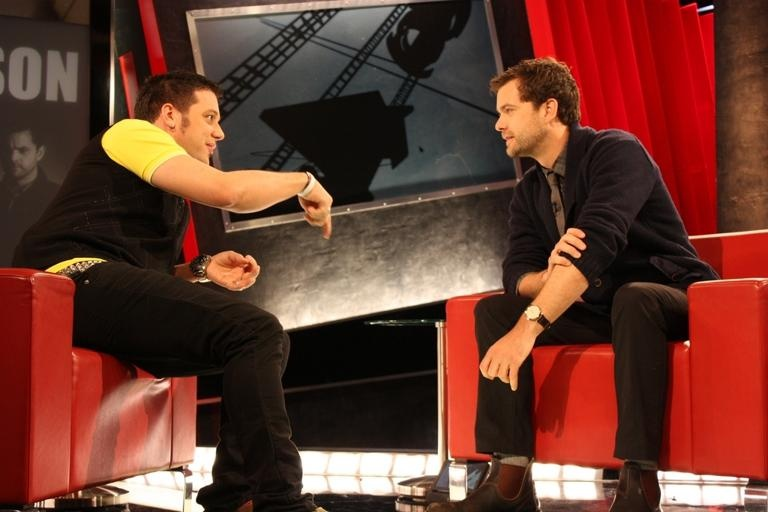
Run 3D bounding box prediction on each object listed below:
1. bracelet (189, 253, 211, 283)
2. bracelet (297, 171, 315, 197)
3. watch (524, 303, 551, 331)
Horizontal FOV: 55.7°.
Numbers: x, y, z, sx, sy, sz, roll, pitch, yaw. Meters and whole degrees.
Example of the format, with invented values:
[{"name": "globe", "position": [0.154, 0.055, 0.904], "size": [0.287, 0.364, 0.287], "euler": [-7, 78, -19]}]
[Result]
[{"name": "bracelet", "position": [-0.710, 0.047, 2.814], "size": [0.063, 0.079, 0.106], "euler": [3, -49, -10]}, {"name": "bracelet", "position": [-0.268, -0.254, 2.573], "size": [0.069, 0.080, 0.032], "euler": [10, -1, 37]}, {"name": "watch", "position": [0.500, 0.201, 2.381], "size": [0.093, 0.054, 0.090], "euler": [34, -6, 32]}]
